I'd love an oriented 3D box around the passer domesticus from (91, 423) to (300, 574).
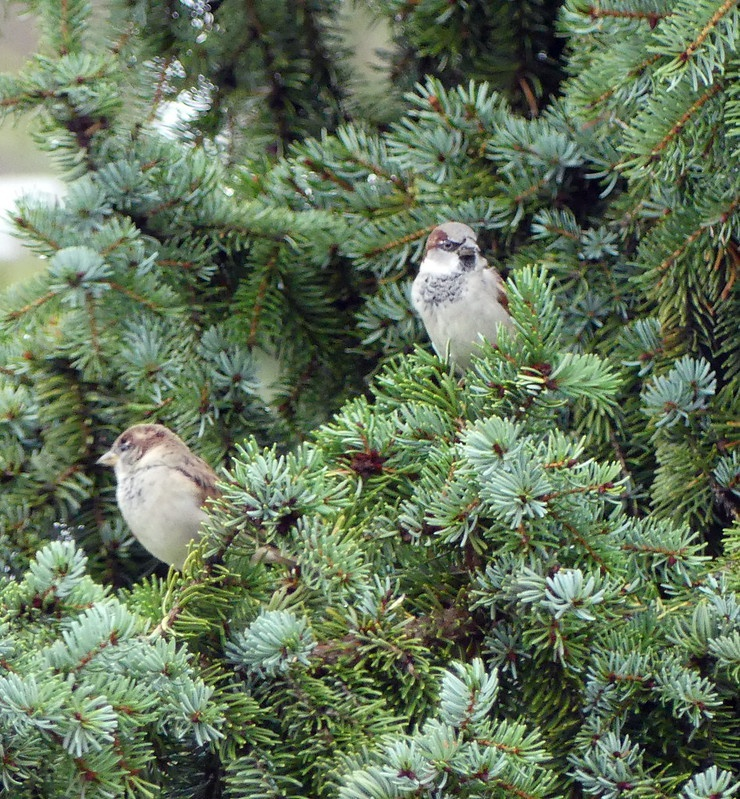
[{"bbox_3d":[-0.385,0.203,3.517,0.422,0.379,0.228,-13,3,-16],"label":"passer domesticus"}]
